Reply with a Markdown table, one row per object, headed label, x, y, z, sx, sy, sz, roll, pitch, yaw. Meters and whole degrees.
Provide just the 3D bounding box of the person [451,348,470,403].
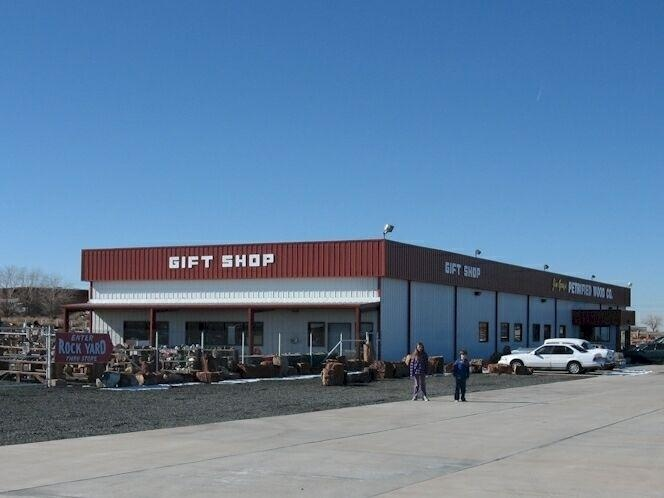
| label | x | y | z | sx | sy | sz | roll | pitch | yaw |
| --- | --- | --- | --- | --- | --- | --- | --- | --- | --- |
| person | 4.128 | 4.088 | 26.445 | 0.466 | 1.639 | 1.144 | -2 | -9 | 9 |
